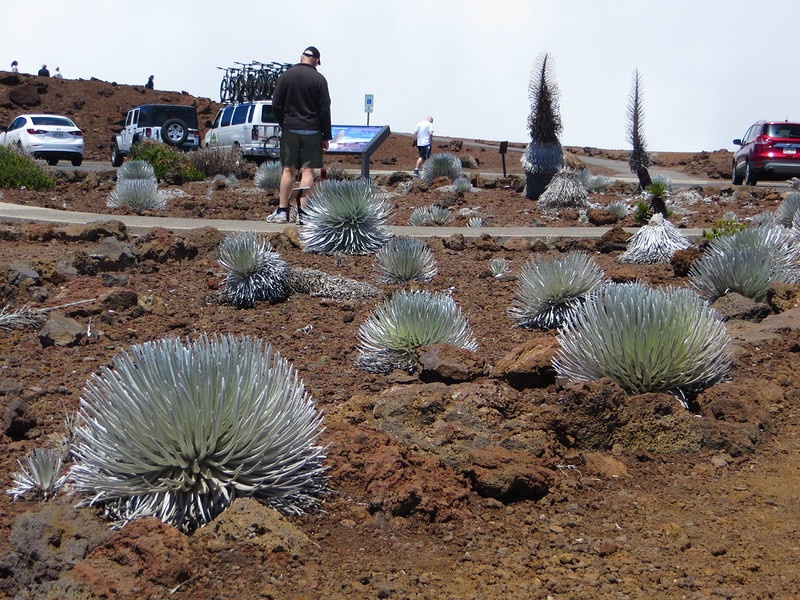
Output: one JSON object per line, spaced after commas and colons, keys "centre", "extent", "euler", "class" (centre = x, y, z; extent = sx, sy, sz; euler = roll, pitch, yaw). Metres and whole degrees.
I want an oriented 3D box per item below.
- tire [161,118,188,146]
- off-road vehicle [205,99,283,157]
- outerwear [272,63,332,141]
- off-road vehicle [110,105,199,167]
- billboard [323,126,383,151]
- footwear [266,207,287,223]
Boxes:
{"centre": [-6.319, -4.729, 20.105], "extent": [0.807, 0.713, 0.369], "euler": [-4, 12, -37], "class": "tire"}
{"centre": [-4.679, -4.974, 21.617], "extent": [1.639, 1.466, 3.418], "euler": [-6, 12, -39], "class": "off-road vehicle"}
{"centre": [-1.242, -2.531, 9.055], "extent": [0.740, 0.946, 0.284], "euler": [2, 10, -10], "class": "outerwear"}
{"centre": [-7.354, -4.708, 21.996], "extent": [2.393, 2.130, 4.385], "euler": [-4, 19, -26], "class": "off-road vehicle"}
{"centre": [-0.874, -3.252, 14.383], "extent": [0.979, 0.601, 3.380], "euler": [3, 11, -6], "class": "billboard"}
{"centre": [-1.655, -1.152, 9.636], "extent": [0.146, 0.170, 0.335], "euler": [-2, 11, -25], "class": "footwear"}
